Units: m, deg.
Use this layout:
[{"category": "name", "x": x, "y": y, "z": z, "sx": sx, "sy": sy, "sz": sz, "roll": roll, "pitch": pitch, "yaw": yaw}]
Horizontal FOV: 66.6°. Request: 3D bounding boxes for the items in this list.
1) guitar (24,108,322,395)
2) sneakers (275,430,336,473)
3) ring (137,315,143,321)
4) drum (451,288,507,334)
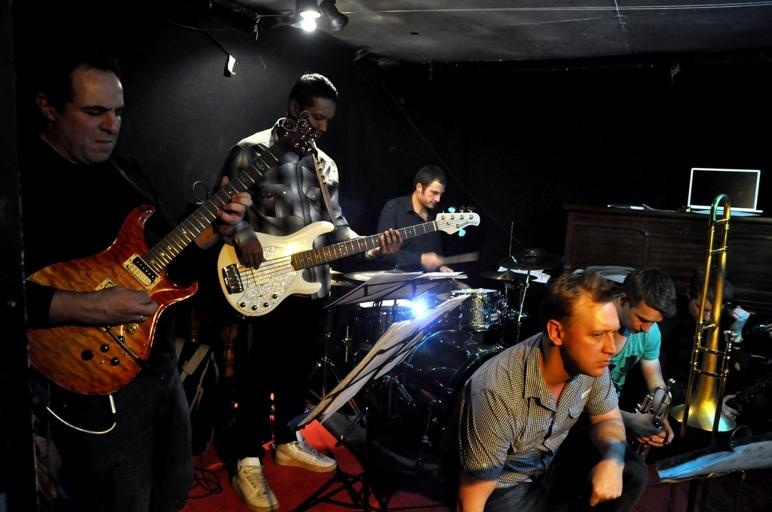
[{"category": "guitar", "x": -1.118, "y": 0.028, "z": 3.248, "sx": 0.291, "sy": 0.739, "sz": 2.184, "roll": -12, "pitch": 29, "yaw": 45}, {"category": "sneakers", "x": -0.598, "y": 1.503, "z": 4.509, "sx": 0.665, "sy": 0.250, "sz": 0.284, "roll": 2, "pitch": 7, "yaw": 6}, {"category": "ring", "x": -1.132, "y": 0.288, "z": 2.720, "sx": 0.006, "sy": 0.025, "sz": 0.025, "roll": 48, "pitch": -7, "yaw": 40}, {"category": "drum", "x": 0.845, "y": 0.474, "z": 5.254, "sx": 0.462, "sy": 0.284, "sz": 0.457, "roll": 2, "pitch": -2, "yaw": 0}]
